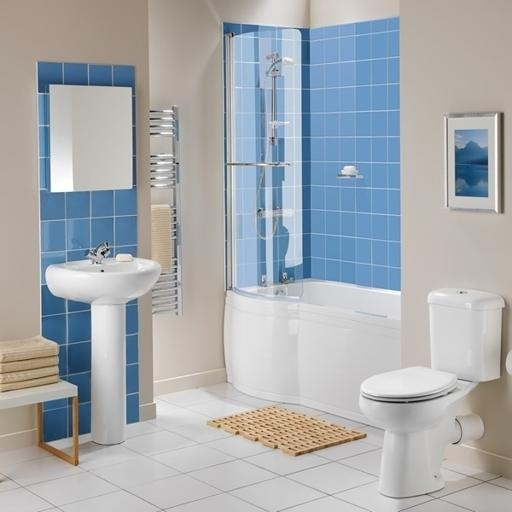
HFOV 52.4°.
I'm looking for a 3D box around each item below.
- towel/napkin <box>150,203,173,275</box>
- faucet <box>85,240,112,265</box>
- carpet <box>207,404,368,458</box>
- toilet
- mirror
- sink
[{"bbox_3d":[-0.625,-0.110,3.448,0.158,0.447,0.081,0,0,-27],"label":"towel/napkin"},{"bbox_3d":[-0.846,-0.011,2.797,0.092,0.100,0.131,-5,2,-32],"label":"faucet"},{"bbox_3d":[0.152,0.995,3.002,0.513,0.039,0.830,-1,0,-44],"label":"carpet"},{"bbox_3d":[0.751,0.580,2.254,0.686,0.841,0.361,0,0,-40],"label":"toilet"},{"bbox_3d":[-0.921,-0.648,2.840,0.590,0.711,0.057,-5,9,-40],"label":"mirror"},{"bbox_3d":[-0.743,0.152,2.783,0.487,0.222,0.543,2,6,19],"label":"sink"}]
